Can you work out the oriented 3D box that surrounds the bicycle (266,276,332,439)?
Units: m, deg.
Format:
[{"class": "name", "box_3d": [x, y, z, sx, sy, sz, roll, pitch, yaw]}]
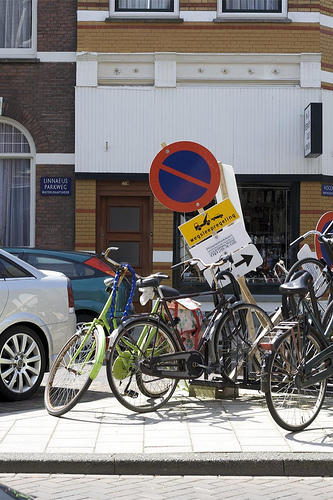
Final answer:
[{"class": "bicycle", "box_3d": [0.974, 0.745, 5.142, 0.474, 1.101, 0.947, 0, -1, 9]}]

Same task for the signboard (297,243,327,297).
[{"class": "signboard", "box_3d": [1.395, 0.184, 6.690, 0.265, 0.491, 0.693, 0, -1, 13]}]

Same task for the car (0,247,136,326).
[{"class": "car", "box_3d": [-1.125, 0.389, 8.476, 1.583, 0.869, 0.883, 3, -2, 1]}]

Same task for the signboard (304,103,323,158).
[{"class": "signboard", "box_3d": [2.750, -2.285, 13.096, 0.288, 0.960, 0.501, 0, -1, 6]}]

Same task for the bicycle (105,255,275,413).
[{"class": "bicycle", "box_3d": [0.249, 0.664, 5.890, 1.681, 1.209, 0.753, -2, -7, -32]}]

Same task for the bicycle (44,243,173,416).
[{"class": "bicycle", "box_3d": [-0.583, 0.639, 6.391, 0.824, 1.211, 1.822, -3, 12, 30]}]
